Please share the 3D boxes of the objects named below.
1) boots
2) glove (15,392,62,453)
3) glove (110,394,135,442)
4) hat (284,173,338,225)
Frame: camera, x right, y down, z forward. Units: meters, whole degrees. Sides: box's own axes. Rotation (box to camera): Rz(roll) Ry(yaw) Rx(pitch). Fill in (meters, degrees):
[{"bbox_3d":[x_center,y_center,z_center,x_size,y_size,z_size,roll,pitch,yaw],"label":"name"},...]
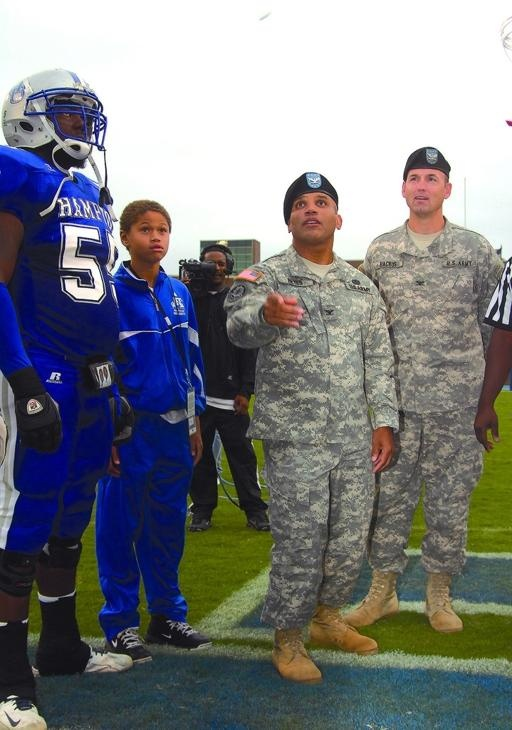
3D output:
[{"bbox_3d":[0.401,1.104,2.964,0.524,0.141,0.322,-4,-6,-27],"label":"boots"},{"bbox_3d":[-0.615,0.162,2.025,0.120,0.177,0.078,-15,20,-3],"label":"glove"},{"bbox_3d":[-0.504,0.203,2.624,0.132,0.142,0.057,5,2,-6],"label":"glove"},{"bbox_3d":[0.237,-0.691,2.979,0.257,0.102,0.299,-5,-25,-4],"label":"hat"}]
